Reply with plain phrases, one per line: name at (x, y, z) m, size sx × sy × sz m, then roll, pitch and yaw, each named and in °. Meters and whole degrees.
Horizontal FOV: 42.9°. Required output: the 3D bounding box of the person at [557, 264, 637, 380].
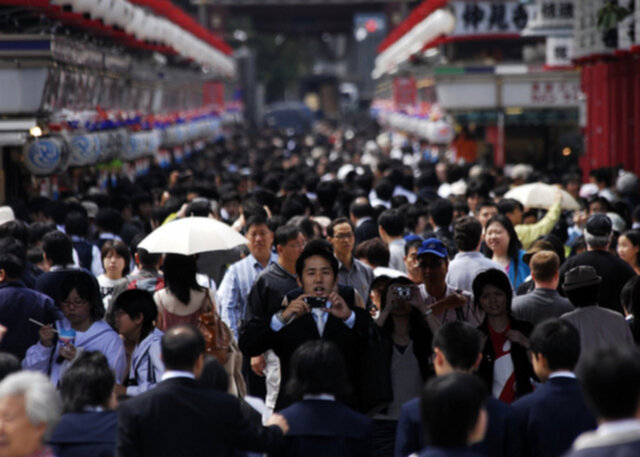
person at (1.586, 0.536, 4.689) m, size 0.397 × 0.807 × 0.283 m, roll -9°, pitch -15°, yaw 4°

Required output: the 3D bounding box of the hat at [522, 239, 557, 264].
hat at (1.687, 0.198, 6.315) m, size 0.193 × 0.130 × 0.244 m, roll 3°, pitch -10°, yaw 14°

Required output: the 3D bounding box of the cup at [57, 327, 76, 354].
cup at (-1.589, 0.679, 5.079) m, size 0.101 × 0.113 × 0.103 m, roll 1°, pitch 3°, yaw 0°

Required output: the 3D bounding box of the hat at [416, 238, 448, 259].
hat at (0.750, 0.133, 5.469) m, size 0.188 × 0.124 × 0.149 m, roll 0°, pitch 3°, yaw 7°

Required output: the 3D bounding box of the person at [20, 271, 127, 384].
person at (-1.548, 0.631, 5.056) m, size 0.551 × 0.814 × 0.441 m, roll -2°, pitch -12°, yaw 8°

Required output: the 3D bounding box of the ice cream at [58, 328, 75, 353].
ice cream at (-1.586, 0.687, 5.079) m, size 0.101 × 0.101 × 0.102 m, roll -1°, pitch 3°, yaw -21°

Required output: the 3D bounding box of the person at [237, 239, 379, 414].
person at (-0.046, 0.901, 4.991) m, size 0.769 × 1.629 × 0.502 m, roll 0°, pitch 14°, yaw 4°

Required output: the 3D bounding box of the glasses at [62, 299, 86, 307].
glasses at (-1.542, 0.469, 5.110) m, size 0.150 × 0.068 × 0.031 m, roll 0°, pitch 3°, yaw -6°

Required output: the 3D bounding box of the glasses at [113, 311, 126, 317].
glasses at (-1.276, 0.536, 5.184) m, size 0.063 × 0.024 × 0.049 m, roll -5°, pitch -2°, yaw 25°

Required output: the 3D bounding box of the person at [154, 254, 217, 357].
person at (-0.924, 0.543, 5.550) m, size 0.525 × 0.893 × 0.264 m, roll -4°, pitch 37°, yaw -9°

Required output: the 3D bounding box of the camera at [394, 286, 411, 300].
camera at (0.508, 0.401, 5.029) m, size 0.099 × 0.073 × 0.047 m, roll 1°, pitch 3°, yaw 8°
